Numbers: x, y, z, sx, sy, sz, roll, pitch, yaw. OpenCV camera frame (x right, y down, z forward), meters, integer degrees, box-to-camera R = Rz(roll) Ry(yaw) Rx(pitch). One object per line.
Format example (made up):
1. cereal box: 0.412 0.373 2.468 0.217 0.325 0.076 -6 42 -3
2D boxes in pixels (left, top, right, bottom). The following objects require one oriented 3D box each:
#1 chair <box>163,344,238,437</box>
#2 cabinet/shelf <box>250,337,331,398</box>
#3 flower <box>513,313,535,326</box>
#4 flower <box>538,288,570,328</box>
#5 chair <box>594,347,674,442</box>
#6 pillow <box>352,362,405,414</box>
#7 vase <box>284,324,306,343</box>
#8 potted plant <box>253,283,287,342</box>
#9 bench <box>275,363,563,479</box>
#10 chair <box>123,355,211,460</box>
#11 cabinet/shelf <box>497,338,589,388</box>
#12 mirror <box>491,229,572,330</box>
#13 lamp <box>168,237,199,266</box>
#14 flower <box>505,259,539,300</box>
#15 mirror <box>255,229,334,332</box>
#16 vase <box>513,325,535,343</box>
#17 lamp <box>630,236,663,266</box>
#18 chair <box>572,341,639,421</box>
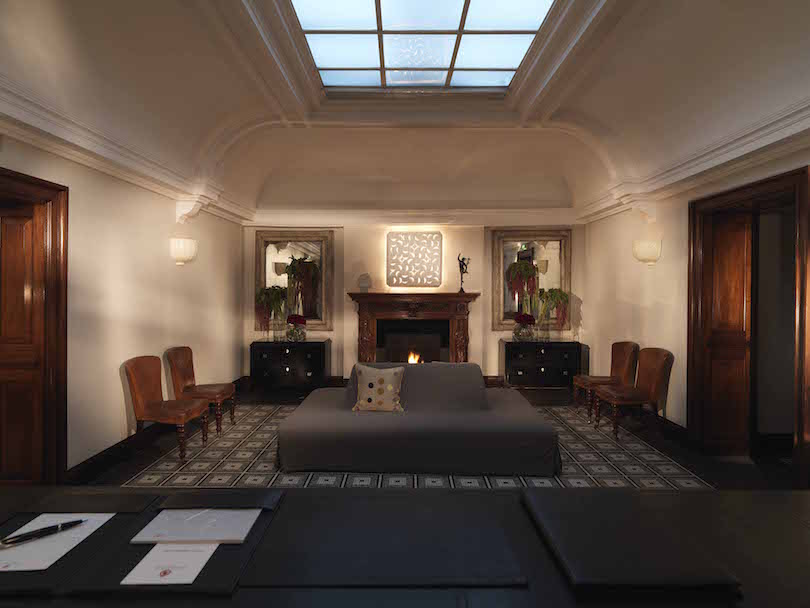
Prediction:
1. chair: -2.611 1.076 6.338 0.688 1.024 0.659 -1 1 -5
2. cabinet/shelf: -2.046 0.997 8.734 1.286 0.917 0.816 2 11 -4
3. flower: 2.120 0.274 8.698 0.315 0.228 0.616 1 5 16
4. flower: 2.719 0.088 9.018 0.605 0.722 0.396 1 4 5
5. chair: 2.882 1.066 6.375 0.958 1.384 0.979 2 -1 -4
6. pillow: -0.299 0.947 5.481 0.414 0.407 0.160 0 -23 3
7. vase: -1.940 0.523 8.729 0.314 0.322 0.323 1 -1 -4
8. potted plant: -2.386 0.195 9.106 0.540 0.928 0.562 3 -2 1
9. bench: 0.182 1.218 5.350 2.799 0.963 0.824 0 4 1
10. chair: -2.661 1.106 5.505 0.703 0.996 0.598 0 2 1
11. cabinet/shelf: 2.525 1.169 8.766 1.320 0.848 0.779 -4 -18 30
12. mirror: 2.389 -0.467 9.094 1.757 2.445 0.169 0 -3 -2
13. lamp: -2.827 -0.662 6.347 0.312 0.244 0.320 1 4 6
14. flower: 2.162 -0.458 9.084 0.555 0.641 0.605 0 -1 0
15. mirror: -2.094 -0.479 9.044 1.765 2.448 0.175 0 -1 -3
16. vase: 2.112 0.541 8.802 0.280 0.290 0.285 0 -6 0
17. lamp: 3.188 -0.695 6.533 0.319 0.303 0.331 1 0 8
18. chair: 2.851 1.061 7.029 0.729 1.090 0.710 5 -3 -1
